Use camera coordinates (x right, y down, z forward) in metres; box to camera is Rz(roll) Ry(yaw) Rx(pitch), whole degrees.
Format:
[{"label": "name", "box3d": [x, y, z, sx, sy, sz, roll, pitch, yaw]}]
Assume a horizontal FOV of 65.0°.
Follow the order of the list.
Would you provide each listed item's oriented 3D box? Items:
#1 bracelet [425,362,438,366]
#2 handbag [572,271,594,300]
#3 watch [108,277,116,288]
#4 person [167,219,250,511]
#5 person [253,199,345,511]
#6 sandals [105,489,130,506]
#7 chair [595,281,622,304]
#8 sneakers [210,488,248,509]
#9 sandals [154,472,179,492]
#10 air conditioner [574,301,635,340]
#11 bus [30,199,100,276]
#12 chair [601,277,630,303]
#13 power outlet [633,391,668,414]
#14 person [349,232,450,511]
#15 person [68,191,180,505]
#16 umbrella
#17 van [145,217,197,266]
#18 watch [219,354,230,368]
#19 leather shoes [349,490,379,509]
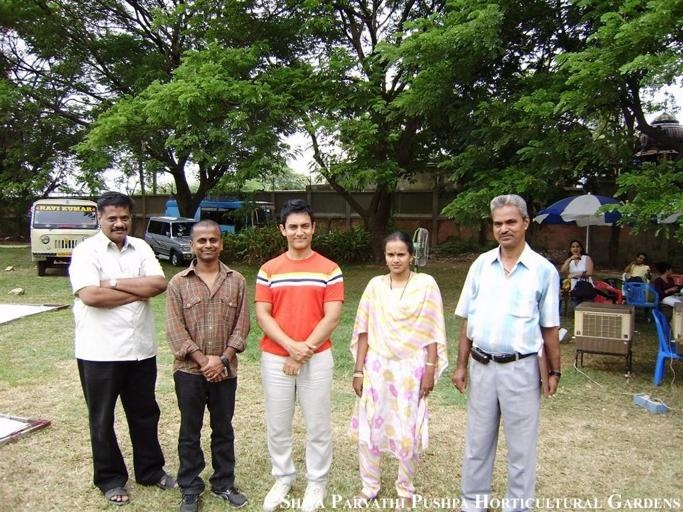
[{"label": "bracelet", "box3d": [0.740, 0.899, 4.404, 0.098, 0.042, 0.030, -1, 3, -20]}, {"label": "handbag", "box3d": [4.323, 0.566, 9.624, 0.515, 0.659, 0.204, 1, 6, 23]}, {"label": "watch", "box3d": [-1.856, 0.233, 4.345, 0.065, 0.058, 0.017, 5, -3, 10]}, {"label": "person", "box3d": [-1.077, 0.885, 4.390, 0.640, 2.334, 0.355, -2, 4, -18]}, {"label": "person", "box3d": [-0.340, 0.813, 4.419, 0.713, 2.533, 0.366, -1, 3, -9]}, {"label": "sandals", "box3d": [-1.829, 1.965, 4.383, 0.181, 0.115, 0.115, -2, 3, -23]}, {"label": "chair", "box3d": [4.887, 0.693, 9.821, 0.418, 0.330, 1.119, 1, 3, 28]}, {"label": "sneakers", "box3d": [-0.920, 1.964, 4.409, 0.266, 0.106, 0.123, 11, 9, 19]}, {"label": "sandals", "box3d": [-1.475, 1.938, 4.580, 0.194, 0.067, 0.118, 0, 2, 43]}, {"label": "air conditioner", "box3d": [3.594, 0.904, 7.356, 0.731, 0.452, 0.460, 0, 1, 28]}, {"label": "bus", "box3d": [-7.488, -0.537, 15.201, 2.046, 1.959, 3.242, -1, 1, -19]}, {"label": "chair", "box3d": [5.173, 0.679, 10.161, 0.468, 0.583, 0.447, -5, 2, -36]}, {"label": "power outlet", "box3d": [3.636, 1.747, 6.323, 0.156, 0.103, 0.263, -1, 3, -18]}, {"label": "person", "box3d": [0.471, 0.948, 4.470, 0.786, 2.260, 0.331, -1, 3, 0]}, {"label": "person", "box3d": [-1.828, 0.746, 4.474, 0.740, 2.536, 0.395, -2, 4, -27]}, {"label": "umbrella", "box3d": [4.858, -0.741, 11.017, 1.711, 1.120, 1.582, 0, -5, 4]}, {"label": "van", "box3d": [-4.687, -0.375, 14.841, 1.335, 1.267, 2.380, -6, 12, -44]}, {"label": "watch", "box3d": [-0.935, 0.863, 4.334, 0.066, 0.096, 0.087, -29, 42, -13]}, {"label": "leather shoes", "box3d": [0.179, 2.040, 4.467, 0.088, 0.090, 0.222, -2, -16, 43]}]
